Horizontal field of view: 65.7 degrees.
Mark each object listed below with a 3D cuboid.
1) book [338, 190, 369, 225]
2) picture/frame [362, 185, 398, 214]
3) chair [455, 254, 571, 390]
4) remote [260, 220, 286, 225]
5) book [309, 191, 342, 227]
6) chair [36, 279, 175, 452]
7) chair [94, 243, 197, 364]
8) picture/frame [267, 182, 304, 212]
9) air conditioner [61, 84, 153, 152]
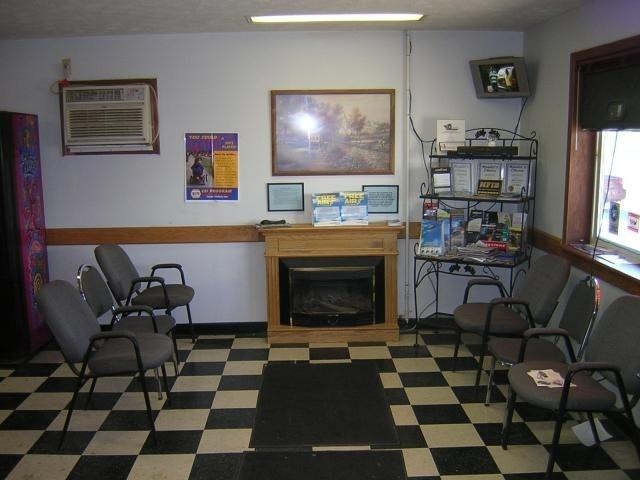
[{"bbox_3d":[0.356,-0.340,5.325,0.340,0.401,0.138,0,1,-1],"label":"book"},{"bbox_3d":[0.674,-0.472,5.514,0.316,0.268,0.024,0,6,2],"label":"picture/frame"},{"bbox_3d":[1.825,0.649,4.835,1.105,1.338,0.959,0,2,-4],"label":"chair"},{"bbox_3d":[-0.505,-0.194,5.435,0.268,0.052,0.096,-4,13,-11],"label":"remote"},{"bbox_3d":[0.078,-0.330,5.312,0.378,0.406,0.132,0,-2,0],"label":"book"},{"bbox_3d":[-1.693,0.906,4.070,0.942,1.184,0.849,-3,12,-4],"label":"chair"},{"bbox_3d":[-1.823,0.532,5.020,1.074,1.307,0.897,2,5,4],"label":"chair"},{"bbox_3d":[-0.392,-0.500,5.519,0.307,0.245,0.015,0,6,-2],"label":"picture/frame"},{"bbox_3d":[-2.284,-1.289,5.552,1.198,0.934,0.629,0,9,-4],"label":"air conditioner"}]
